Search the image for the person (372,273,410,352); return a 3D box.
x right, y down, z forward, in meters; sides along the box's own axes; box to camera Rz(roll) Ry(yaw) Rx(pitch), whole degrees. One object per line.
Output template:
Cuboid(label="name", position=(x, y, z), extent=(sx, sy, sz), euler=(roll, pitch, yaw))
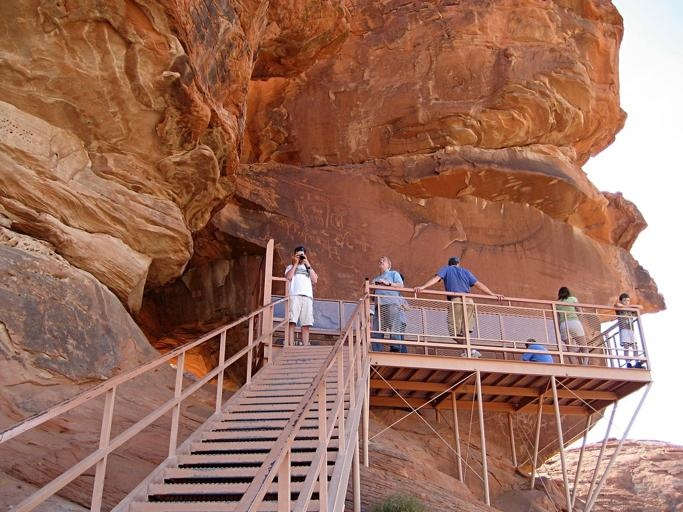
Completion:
Cuboid(label="person", position=(0.861, 0.914, 9.345), extent=(0.656, 1.515, 0.843), euler=(7, -15, 4))

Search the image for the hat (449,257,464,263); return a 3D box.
Cuboid(label="hat", position=(2.502, 0.086, 11.692), extent=(0.237, 0.165, 0.373), euler=(7, -1, 19))

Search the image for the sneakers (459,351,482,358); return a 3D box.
Cuboid(label="sneakers", position=(2.229, 1.718, 9.338), extent=(0.294, 0.100, 0.168), euler=(4, -2, -4))

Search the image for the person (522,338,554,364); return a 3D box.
Cuboid(label="person", position=(3.490, 1.672, 9.545), extent=(0.510, 0.465, 1.082), euler=(2, -15, 21))

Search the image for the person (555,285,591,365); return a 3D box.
Cuboid(label="person", position=(4.223, 1.165, 9.859), extent=(0.557, 1.276, 0.621), euler=(2, -16, 23))

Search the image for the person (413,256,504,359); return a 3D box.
Cuboid(label="person", position=(2.116, 0.887, 9.529), extent=(0.899, 1.744, 0.684), euler=(5, -15, 13))

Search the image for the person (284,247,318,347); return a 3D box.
Cuboid(label="person", position=(-0.740, 0.719, 9.598), extent=(0.606, 1.734, 0.802), euler=(9, -15, -2))
